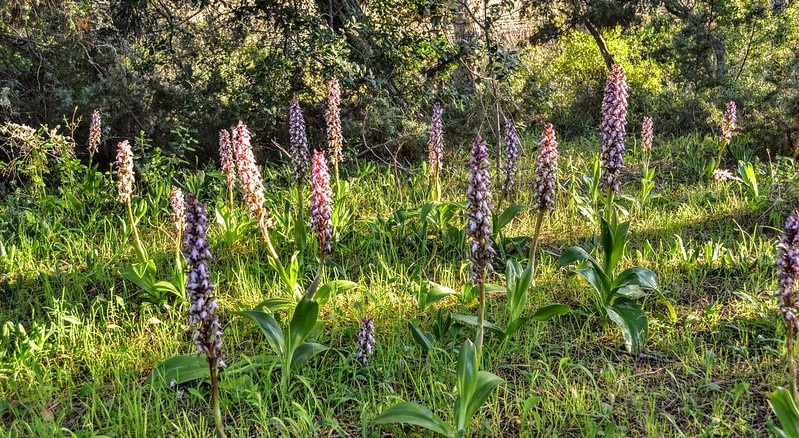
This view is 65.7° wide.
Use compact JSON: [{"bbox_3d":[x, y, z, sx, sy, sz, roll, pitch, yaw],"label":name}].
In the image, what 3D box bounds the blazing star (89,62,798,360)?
[{"bbox_3d":[0.715,-0.109,9.392,10.150,4.024,4.300,-2,4,-2],"label":"blazing star"}]
